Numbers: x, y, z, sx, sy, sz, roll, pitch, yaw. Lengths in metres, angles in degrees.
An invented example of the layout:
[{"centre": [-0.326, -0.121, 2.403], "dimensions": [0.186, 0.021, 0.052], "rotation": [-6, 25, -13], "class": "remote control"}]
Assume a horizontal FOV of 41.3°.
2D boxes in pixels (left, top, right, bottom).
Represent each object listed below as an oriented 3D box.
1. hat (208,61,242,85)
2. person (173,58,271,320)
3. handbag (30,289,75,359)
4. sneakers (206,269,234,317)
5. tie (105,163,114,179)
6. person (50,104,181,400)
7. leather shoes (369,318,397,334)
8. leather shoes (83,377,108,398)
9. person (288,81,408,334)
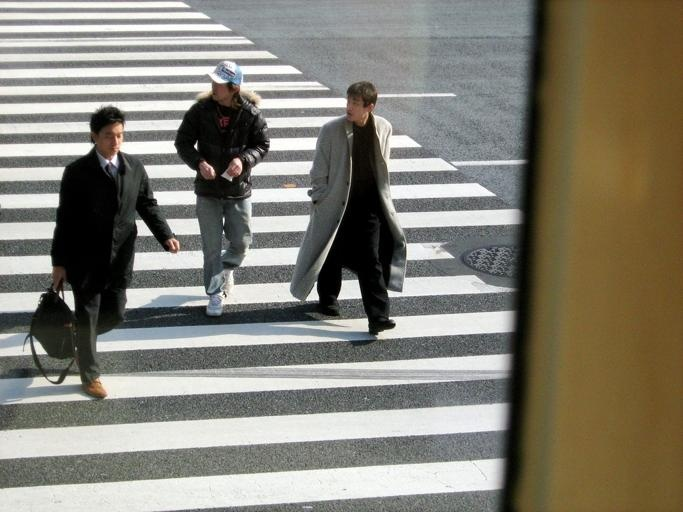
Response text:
[{"centre": [-0.900, -1.407, 7.028], "dimensions": [0.241, 0.123, 0.169], "rotation": [5, 21, -15], "class": "hat"}, {"centre": [-0.966, -0.556, 7.491], "dimensions": [0.459, 2.114, 0.695], "rotation": [21, 32, 38], "class": "person"}, {"centre": [-1.938, 0.478, 6.163], "dimensions": [0.302, 0.489, 0.220], "rotation": [3, 24, 5], "class": "handbag"}, {"centre": [-1.040, 0.323, 7.766], "dimensions": [0.153, 0.220, 0.488], "rotation": [20, 22, -13], "class": "sneakers"}, {"centre": [-1.546, -0.571, 6.047], "dimensions": [0.062, 0.081, 0.023], "rotation": [2, -4, -41], "class": "tie"}, {"centre": [-1.608, -0.057, 6.251], "dimensions": [0.465, 1.972, 0.873], "rotation": [15, 28, 29], "class": "person"}, {"centre": [0.365, 0.554, 7.233], "dimensions": [0.274, 0.116, 0.092], "rotation": [-17, -21, 28], "class": "leather shoes"}, {"centre": [-1.692, 0.918, 6.278], "dimensions": [0.240, 0.105, 0.084], "rotation": [11, 14, 43], "class": "leather shoes"}, {"centre": [0.052, -0.255, 7.342], "dimensions": [0.861, 1.743, 0.631], "rotation": [8, 25, 16], "class": "person"}]
